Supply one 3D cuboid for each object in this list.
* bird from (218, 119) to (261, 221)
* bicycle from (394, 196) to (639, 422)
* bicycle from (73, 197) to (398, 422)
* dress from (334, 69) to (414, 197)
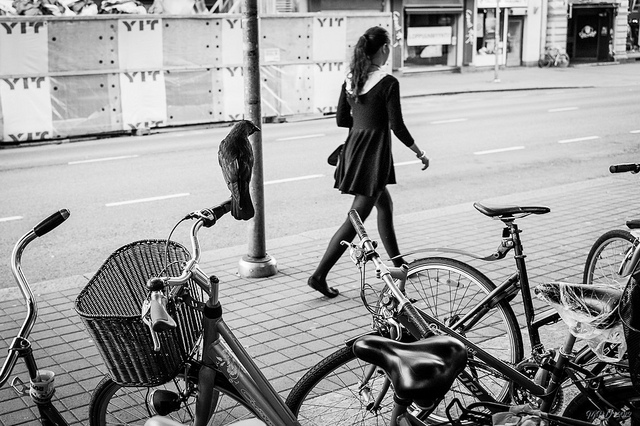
[{"bbox_3d":[-0.495,-0.231,3.830,0.237,0.649,0.399,-3,13,-5],"label":"bird"},{"bbox_3d":[1.608,0.619,4.992,1.180,1.500,2.400,-7,14,-36],"label":"bicycle"},{"bbox_3d":[-0.566,0.763,4.064,2.028,1.396,1.335,1,34,12],"label":"bicycle"},{"bbox_3d":[0.538,-0.821,6.463,0.815,1.286,0.468,0,13,11],"label":"dress"}]
